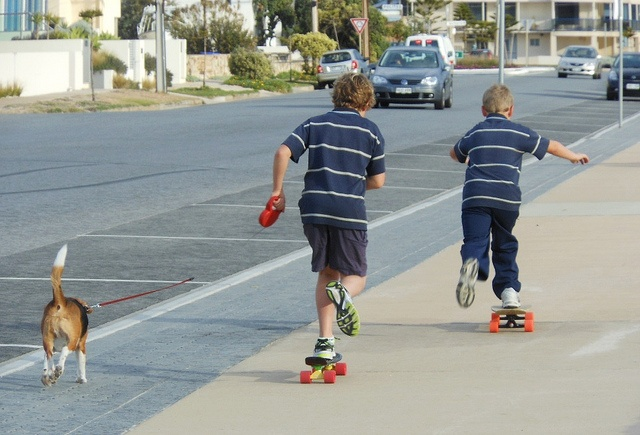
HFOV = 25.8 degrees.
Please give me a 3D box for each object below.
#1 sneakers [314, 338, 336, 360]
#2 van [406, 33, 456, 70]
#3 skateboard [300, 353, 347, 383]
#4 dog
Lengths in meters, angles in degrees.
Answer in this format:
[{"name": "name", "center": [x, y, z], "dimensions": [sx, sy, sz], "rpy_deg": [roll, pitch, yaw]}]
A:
[{"name": "sneakers", "center": [0.090, 1.758, 18.733], "dimensions": [0.298, 0.284, 0.259], "rpy_deg": [-2, 8, -1]}, {"name": "van", "center": [4.977, -7.440, 61.579], "dimensions": [2.285, 2.070, 3.932], "rpy_deg": [1, 13, 9]}, {"name": "skateboard", "center": [0.050, 2.007, 19.013], "dimensions": [0.467, 0.281, 0.801], "rpy_deg": [-3, 7, 9]}, {"name": "dog", "center": [-3.285, 1.318, 18.525], "dimensions": [0.463, 1.859, 0.733], "rpy_deg": [3, 9, 32]}]
